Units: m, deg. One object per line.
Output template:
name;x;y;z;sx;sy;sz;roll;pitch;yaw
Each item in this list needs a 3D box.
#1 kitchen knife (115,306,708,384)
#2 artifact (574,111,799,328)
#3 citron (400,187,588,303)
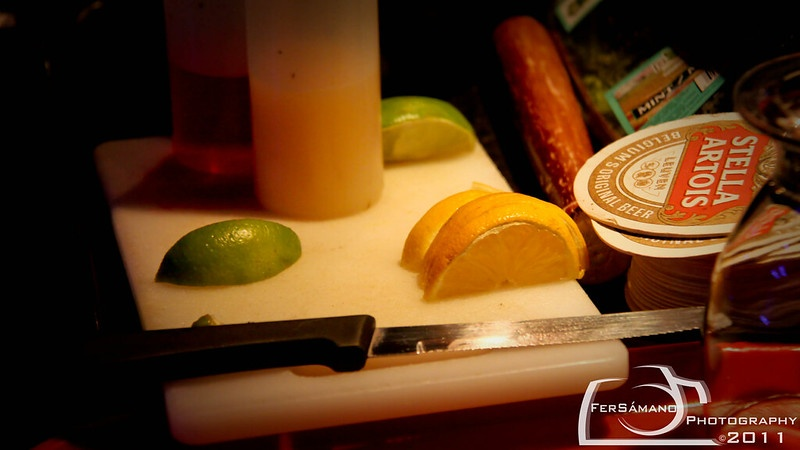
kitchen knife;0.027;0.172;0.865;0.765;0.056;0.085;-3;1;-2
artifact;0.435;-0.035;1.016;0.260;0.231;0.318;18;39;28
citron;0.144;0.037;0.980;0.314;0.099;0.160;-3;53;2
